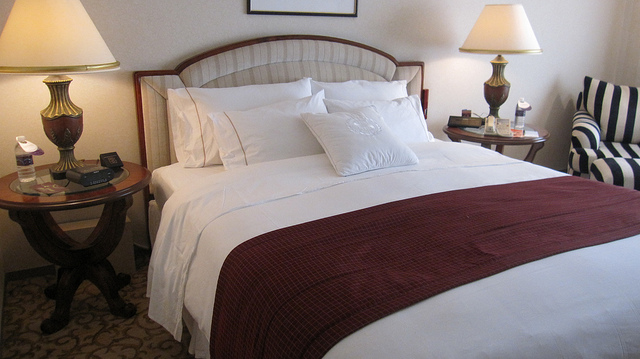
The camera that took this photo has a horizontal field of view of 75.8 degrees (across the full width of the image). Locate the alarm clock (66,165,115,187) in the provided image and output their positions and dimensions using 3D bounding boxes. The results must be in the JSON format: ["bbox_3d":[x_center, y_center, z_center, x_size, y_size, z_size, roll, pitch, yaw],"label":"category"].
[{"bbox_3d":[-1.721,-0.035,3.084,0.273,0.101,0.217,12,25,33],"label":"alarm clock"}]

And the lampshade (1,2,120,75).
[{"bbox_3d":[-1.874,-0.970,3.024,0.658,0.388,0.597,-9,21,-19],"label":"lampshade"}]

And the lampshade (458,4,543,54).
[{"bbox_3d":[1.865,-1.507,4.202,0.636,0.321,0.615,10,23,22],"label":"lampshade"}]

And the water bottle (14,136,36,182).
[{"bbox_3d":[-2.197,-0.150,3.052,0.124,0.311,0.148,-18,27,-33],"label":"water bottle"}]

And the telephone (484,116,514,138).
[{"bbox_3d":[1.852,-0.553,4.284,0.266,0.151,0.256,5,21,19],"label":"telephone"}]

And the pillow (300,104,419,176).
[{"bbox_3d":[0.493,-0.221,3.432,0.738,0.190,0.780,-6,22,24],"label":"pillow"}]

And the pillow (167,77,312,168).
[{"bbox_3d":[-0.695,-0.449,3.441,0.824,0.454,0.213,-11,3,-17],"label":"pillow"}]
